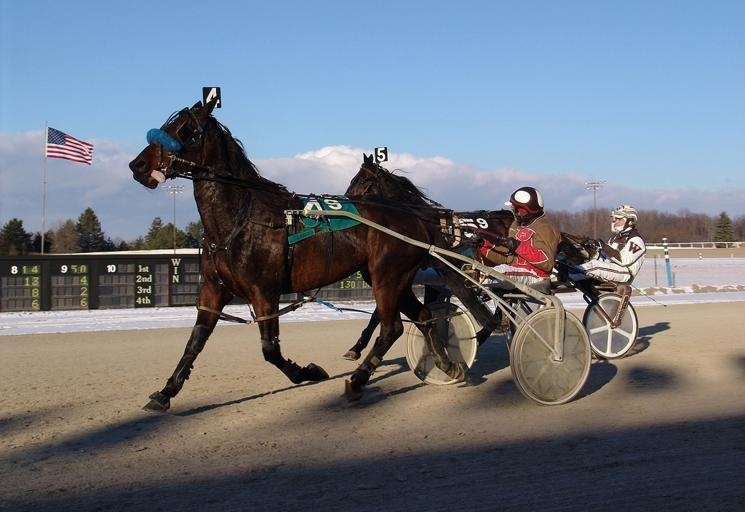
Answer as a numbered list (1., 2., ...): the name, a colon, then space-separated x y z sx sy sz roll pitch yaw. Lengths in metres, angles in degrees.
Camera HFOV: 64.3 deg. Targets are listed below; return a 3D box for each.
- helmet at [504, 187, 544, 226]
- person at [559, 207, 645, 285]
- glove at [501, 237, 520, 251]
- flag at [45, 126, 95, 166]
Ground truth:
1. helmet: 1.814 -0.568 6.810 0.383 0.409 0.485 -24 20 -40
2. person: 3.261 -0.166 8.880 1.728 1.043 0.827 -4 5 -2
3. glove: 1.505 -0.137 6.450 0.126 0.051 0.167 22 -15 -38
4. flag: -12.251 -4.592 24.657 0.220 1.555 2.174 15 12 29
